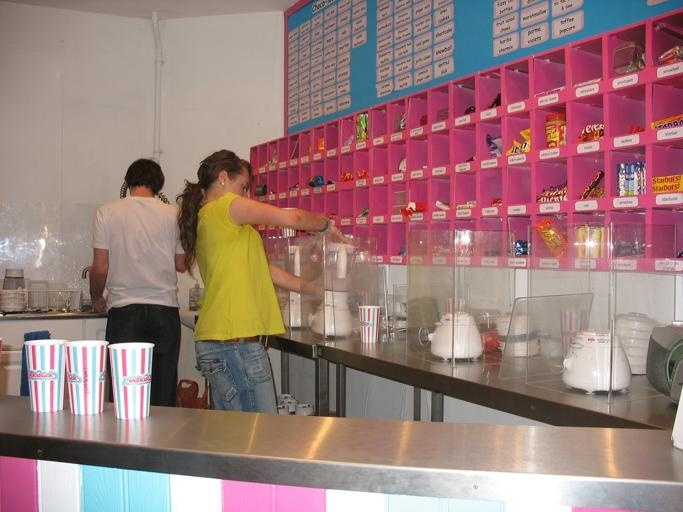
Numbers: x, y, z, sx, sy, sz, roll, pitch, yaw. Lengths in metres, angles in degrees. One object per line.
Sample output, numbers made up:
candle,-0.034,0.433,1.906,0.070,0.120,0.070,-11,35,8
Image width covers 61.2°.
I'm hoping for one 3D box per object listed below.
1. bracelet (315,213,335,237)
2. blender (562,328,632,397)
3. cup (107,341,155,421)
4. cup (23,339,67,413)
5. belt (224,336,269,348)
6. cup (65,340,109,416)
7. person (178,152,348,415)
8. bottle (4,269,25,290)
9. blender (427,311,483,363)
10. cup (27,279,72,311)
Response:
bracelet,-0.070,-0.138,2.496,0.097,0.108,0.077,-2,3,-27
blender,0.787,0.327,1.769,0.189,0.187,0.194,-3,-1,-8
cup,-0.464,0.277,1.273,0.084,0.158,0.061,1,-2,-24
cup,-0.688,0.273,1.339,0.083,0.163,0.127,1,-2,-29
belt,-0.352,0.329,2.215,0.182,0.046,0.059,2,-3,-39
cup,-0.593,0.276,1.324,0.136,0.163,0.075,-1,-2,26
person,-0.371,0.108,2.365,0.581,1.091,0.485,1,-2,-16
bottle,-2.283,0.161,4.012,0.141,0.156,0.147,2,-5,-10
blender,0.438,0.321,2.216,0.203,0.188,0.209,2,-11,-11
cup,-2.062,0.213,4.087,0.289,0.203,0.297,1,3,0
